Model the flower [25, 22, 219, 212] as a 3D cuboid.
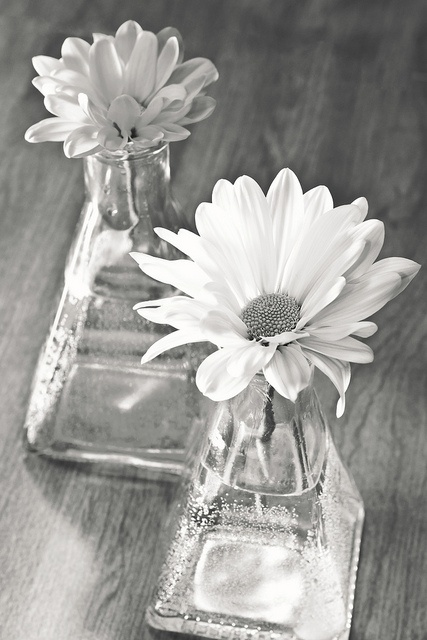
[{"bbox_3d":[-0.035,-0.086,0.321,0.082,0.036,0.086,-19,73,-8],"label":"flower"}]
